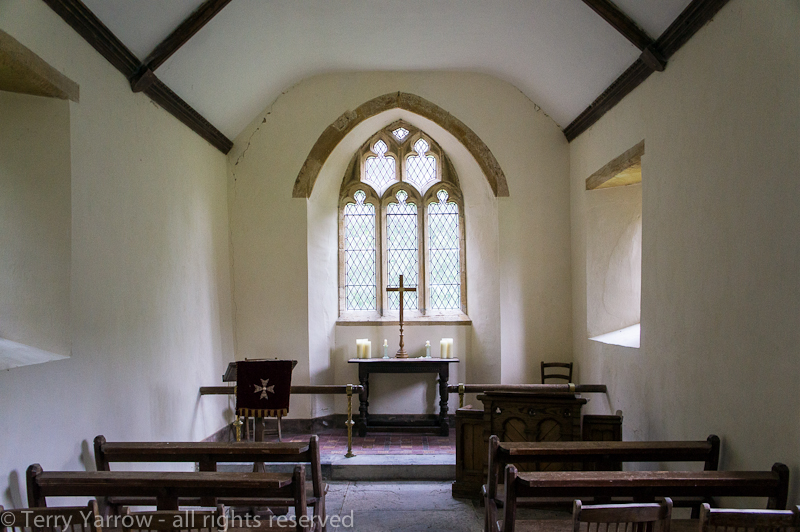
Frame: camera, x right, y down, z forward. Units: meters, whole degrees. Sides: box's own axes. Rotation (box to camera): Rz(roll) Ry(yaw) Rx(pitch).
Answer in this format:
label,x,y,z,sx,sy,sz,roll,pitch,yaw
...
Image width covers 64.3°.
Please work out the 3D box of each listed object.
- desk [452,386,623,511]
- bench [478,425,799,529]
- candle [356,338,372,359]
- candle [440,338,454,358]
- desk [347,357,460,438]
label,x,y,z,sx,sy,sz,roll,pitch,yaw
desk,1.663,2.788,8.554,2.516,1.849,1.326,-1,-7,4
bench,2.236,2.271,6.492,2.602,1.109,1.444,-1,-7,-1
candle,-0.608,1.435,11.055,0.261,0.398,0.279,1,-1,6
candle,0.792,1.413,10.941,0.248,0.491,0.281,0,-5,3
desk,0.059,2.179,11.002,1.624,1.377,1.225,0,3,-1
